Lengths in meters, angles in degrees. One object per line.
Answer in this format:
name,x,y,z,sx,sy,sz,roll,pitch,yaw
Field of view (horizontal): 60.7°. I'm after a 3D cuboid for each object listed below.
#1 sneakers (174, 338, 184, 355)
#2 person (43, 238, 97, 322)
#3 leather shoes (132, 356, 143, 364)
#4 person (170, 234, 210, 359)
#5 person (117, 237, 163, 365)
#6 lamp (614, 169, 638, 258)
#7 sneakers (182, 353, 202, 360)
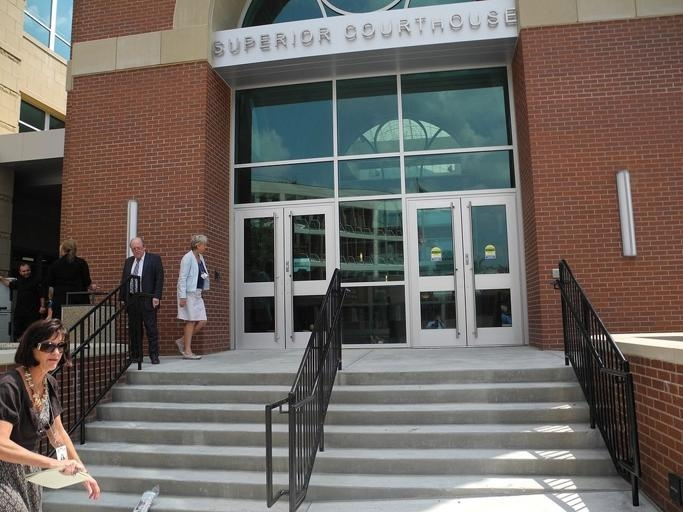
sneakers,-2.820,1.542,10.079,0.167,0.223,0.526,0,1,-6
person,-4.737,0.730,10.170,0.682,2.001,0.653,0,-5,-13
leather shoes,-2.954,1.488,8.456,0.125,0.146,0.136,1,2,1
person,-2.539,0.684,9.935,0.500,2.068,1.004,0,-4,-16
person,-3.080,0.667,9.013,0.607,1.955,1.219,0,-4,-21
lamp,4.854,-0.742,9.899,0.261,1.480,0.165,-2,-4,8
sneakers,-2.515,1.665,9.775,0.291,0.131,0.120,1,-2,-2
